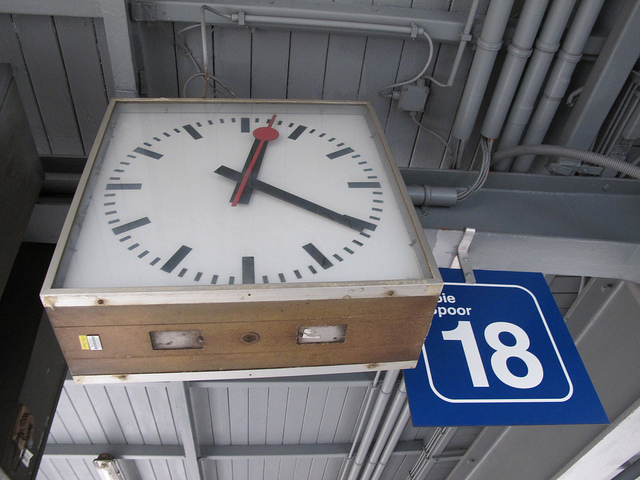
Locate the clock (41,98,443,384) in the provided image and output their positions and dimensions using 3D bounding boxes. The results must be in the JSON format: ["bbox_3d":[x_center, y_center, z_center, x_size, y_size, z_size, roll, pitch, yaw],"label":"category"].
[{"bbox_3d":[-0.319,0.167,2.452,1.251,1.352,0.567,1,-37,-12],"label":"clock"}]
